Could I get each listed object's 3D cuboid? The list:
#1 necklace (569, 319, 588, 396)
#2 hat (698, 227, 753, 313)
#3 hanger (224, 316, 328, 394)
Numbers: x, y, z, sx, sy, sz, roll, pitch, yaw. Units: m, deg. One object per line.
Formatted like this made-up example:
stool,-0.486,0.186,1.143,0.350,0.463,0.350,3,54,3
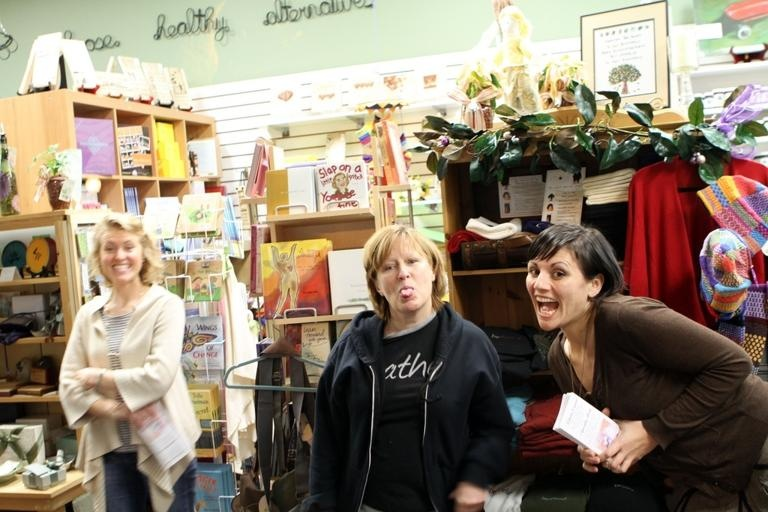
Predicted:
necklace,0.937,0.457,2.408,0.074,0.284,0.160,-2,9,3
hat,1.999,0.090,3.127,0.312,0.483,0.264,0,14,14
hanger,-0.594,0.612,2.933,0.642,0.315,0.063,13,-4,-39
